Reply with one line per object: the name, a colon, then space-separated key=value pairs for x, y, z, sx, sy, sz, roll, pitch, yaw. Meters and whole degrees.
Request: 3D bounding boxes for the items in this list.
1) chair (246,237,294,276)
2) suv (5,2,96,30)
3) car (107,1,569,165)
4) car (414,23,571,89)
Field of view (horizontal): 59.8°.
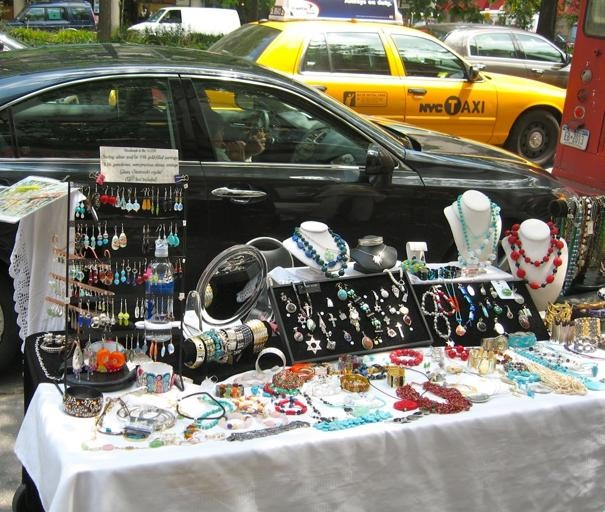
chair: x=-0.151 y=0.000 z=2.631 sx=0.180 sy=0.126 sz=0.194 roll=1 pitch=4 yaw=4
suv: x=-9.275 y=-9.077 z=19.896 sx=2.710 sy=1.244 sz=1.503 roll=1 pitch=13 yaw=-6
car: x=1.267 y=-2.117 z=7.178 sx=5.000 sy=1.497 sz=2.020 roll=-3 pitch=17 yaw=-12
car: x=3.376 y=-3.413 z=9.136 sx=2.568 sy=0.782 sz=1.124 roll=-3 pitch=22 yaw=-13
